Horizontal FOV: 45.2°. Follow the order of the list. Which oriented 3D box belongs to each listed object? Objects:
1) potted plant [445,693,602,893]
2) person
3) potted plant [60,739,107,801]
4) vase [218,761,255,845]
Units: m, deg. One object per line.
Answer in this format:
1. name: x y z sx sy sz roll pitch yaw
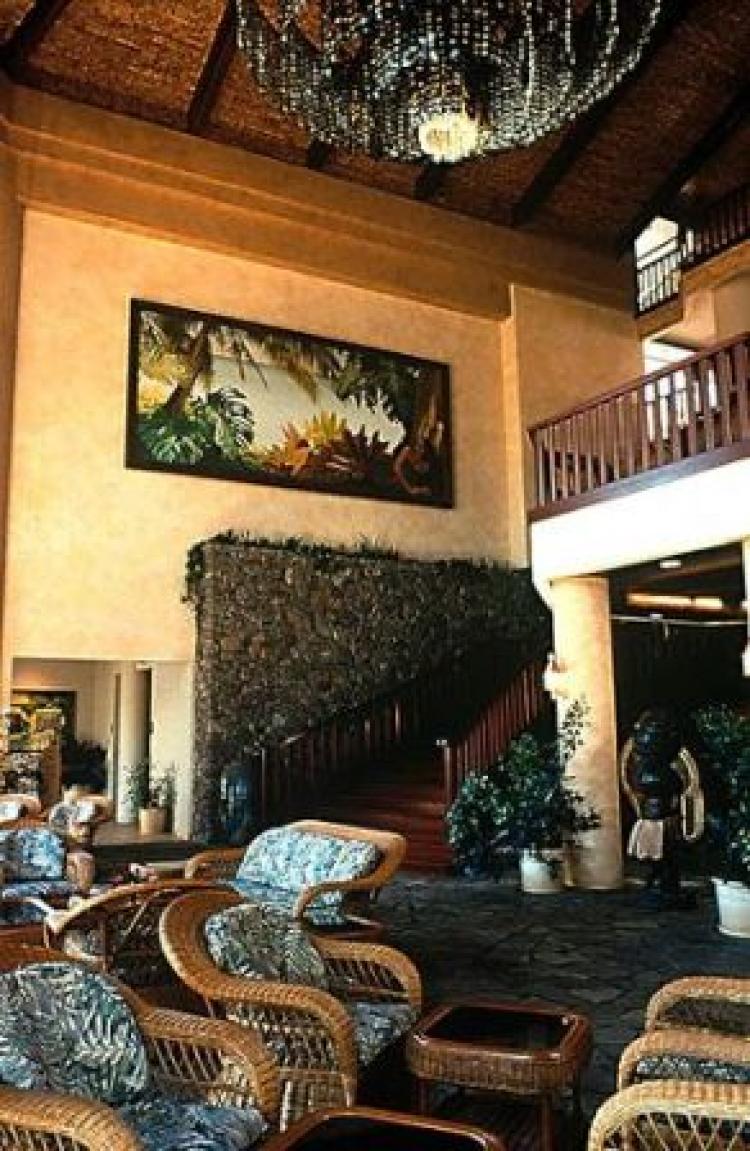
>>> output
1. potted plant: 1.162 1.814 7.157 0.932 1.093 0.799 6 -10 -43
2. person: 2.081 1.717 6.810 0.426 1.353 0.412 -2 -1 33
3. potted plant: -4.514 2.965 13.987 0.794 0.805 0.802 -6 -16 30
4. vase: -1.348 2.256 8.908 0.232 0.692 0.492 1 -10 3
